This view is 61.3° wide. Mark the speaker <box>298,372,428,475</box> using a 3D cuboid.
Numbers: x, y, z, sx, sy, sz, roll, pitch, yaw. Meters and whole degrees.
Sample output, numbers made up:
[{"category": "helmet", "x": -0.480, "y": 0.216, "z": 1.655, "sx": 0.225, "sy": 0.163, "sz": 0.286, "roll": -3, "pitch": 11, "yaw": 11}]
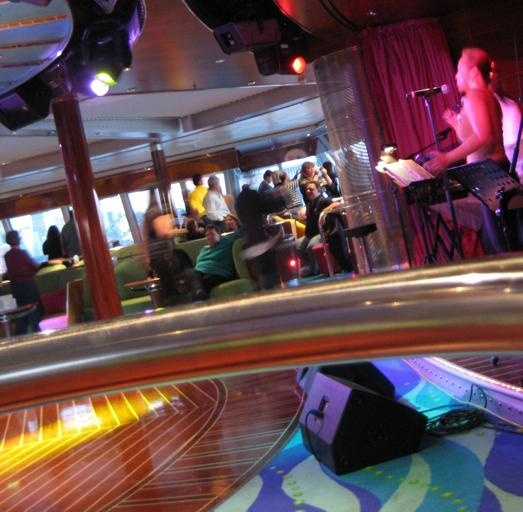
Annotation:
[{"category": "speaker", "x": 0.448, "y": 0.674, "z": 1.955, "sx": 0.440, "sy": 0.287, "sz": 0.425, "roll": -15, "pitch": 6, "yaw": -18}]

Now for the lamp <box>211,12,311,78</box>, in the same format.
[{"category": "lamp", "x": -0.088, "y": -2.249, "z": 5.207, "sx": 1.252, "sy": 0.789, "sz": 0.633, "roll": -9, "pitch": 11, "yaw": -28}]
